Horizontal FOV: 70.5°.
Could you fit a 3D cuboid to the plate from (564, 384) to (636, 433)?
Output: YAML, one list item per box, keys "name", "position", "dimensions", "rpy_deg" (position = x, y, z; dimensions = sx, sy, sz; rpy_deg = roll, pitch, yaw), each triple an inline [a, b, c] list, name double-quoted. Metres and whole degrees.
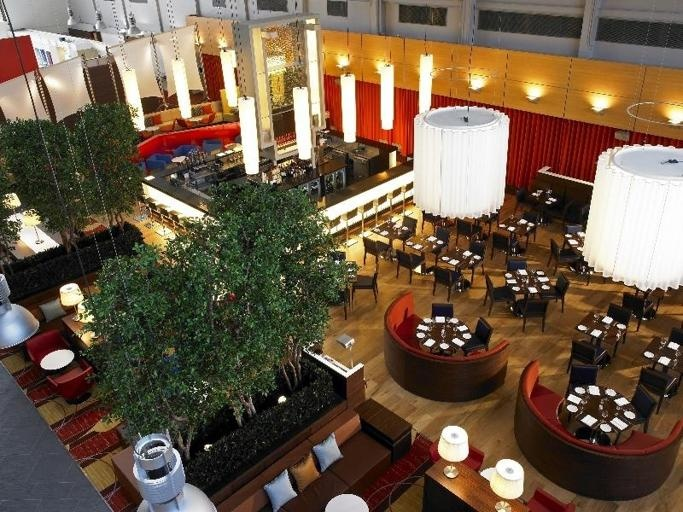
- name: "plate"
  position: [3.932, 2.322, 7.372]
  dimensions: [0.798, 0.285, 0.821]
  rpy_deg: [-22, 35, -26]

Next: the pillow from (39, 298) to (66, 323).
- name: "pillow"
  position: [-6.017, 1.157, 10.117]
  dimensions: [0.395, 0.339, 0.198]
  rpy_deg: [-30, 41, -32]
